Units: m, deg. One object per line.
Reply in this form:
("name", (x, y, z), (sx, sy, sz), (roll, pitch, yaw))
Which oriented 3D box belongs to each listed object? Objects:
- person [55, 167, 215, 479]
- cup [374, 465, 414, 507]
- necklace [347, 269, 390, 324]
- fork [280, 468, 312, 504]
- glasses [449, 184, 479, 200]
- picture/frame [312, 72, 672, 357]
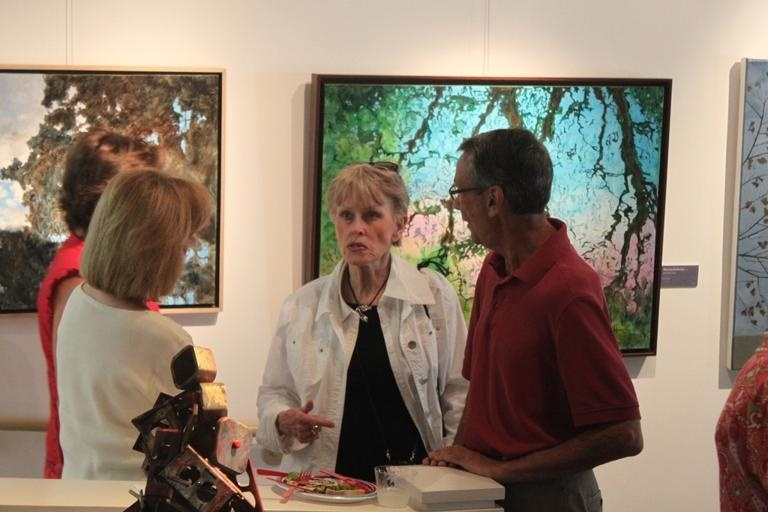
("person", (-0.937, 0.251, 2.382), (0.543, 1.182, 0.254), (1, 0, -17))
("cup", (0.036, 0.897, 2.492), (0.123, 0.106, 0.138), (9, -13, -39))
("necklace", (-0.095, 0.183, 3.148), (0.175, 0.318, 0.046), (7, -33, 13))
("fork", (-0.357, 0.920, 2.563), (0.036, 0.027, 0.218), (6, 10, 10))
("glasses", (0.330, -0.253, 2.591), (0.105, 0.034, 0.103), (0, 5, 2))
("picture/frame", (0.467, -0.276, 3.268), (1.575, 1.255, 0.066), (1, 1, -7))
